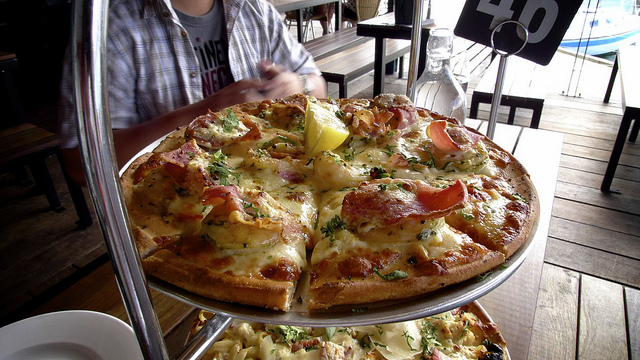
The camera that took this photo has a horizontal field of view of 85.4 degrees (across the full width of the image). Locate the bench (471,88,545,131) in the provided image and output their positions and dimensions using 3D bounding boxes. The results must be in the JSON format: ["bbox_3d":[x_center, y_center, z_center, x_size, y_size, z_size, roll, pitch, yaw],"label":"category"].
[{"bbox_3d":[1.764,-0.633,3.083,0.445,0.484,0.568,1,14,27],"label":"bench"}]

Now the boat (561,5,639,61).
[{"bbox_3d":[4.605,-2.473,5.772,2.001,0.860,0.780,-14,33,-32],"label":"boat"}]

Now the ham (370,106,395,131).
[{"bbox_3d":[0.262,-0.258,1.441,0.097,0.090,0.020,56,9,15],"label":"ham"}]

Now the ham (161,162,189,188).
[{"bbox_3d":[-0.511,-0.024,1.249,0.074,0.100,0.031,-17,14,15],"label":"ham"}]

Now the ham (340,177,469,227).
[{"bbox_3d":[0.274,0.069,1.106,0.393,0.079,0.219,-1,34,20],"label":"ham"}]

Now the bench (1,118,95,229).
[{"bbox_3d":[-2.079,0.005,2.613,0.543,0.640,0.701,-27,57,-37],"label":"bench"}]

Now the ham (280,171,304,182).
[{"bbox_3d":[-0.121,-0.017,1.308,0.053,0.014,0.052,-11,28,-25],"label":"ham"}]

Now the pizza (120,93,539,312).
[{"bbox_3d":[0.034,-0.007,1.272,1.518,0.471,0.842,1,27,-7],"label":"pizza"}]
